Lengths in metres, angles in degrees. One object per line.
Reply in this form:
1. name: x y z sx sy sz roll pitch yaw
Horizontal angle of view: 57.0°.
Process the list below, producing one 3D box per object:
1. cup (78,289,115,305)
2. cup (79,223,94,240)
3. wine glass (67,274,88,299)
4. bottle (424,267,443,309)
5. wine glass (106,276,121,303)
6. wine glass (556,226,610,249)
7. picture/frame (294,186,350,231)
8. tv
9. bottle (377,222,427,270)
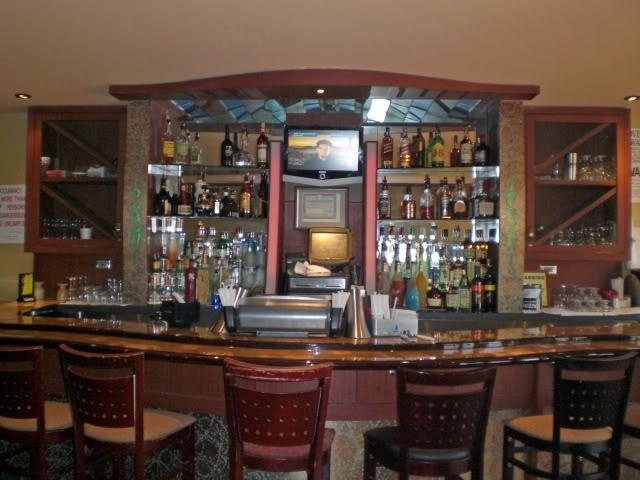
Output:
1. cup: -2.004 0.503 5.339 0.242 0.077 0.181 1 -6 12
2. cup: -2.120 -0.066 5.386 0.118 0.113 0.126 3 4 0
3. wine glass: -2.247 0.442 5.502 0.228 0.225 0.145 -1 -4 -1
4. bottle: 1.011 0.425 5.143 0.223 0.359 0.212 -1 4 0
5. wine glass: -1.863 0.461 5.353 0.166 0.274 0.163 -1 -8 3
6. wine glass: 2.275 -0.035 5.313 0.595 0.201 0.174 1 -2 3
7. picture/frame: 0.042 -0.276 5.219 0.442 0.312 0.043 1 -6 1
8. tv: 0.021 -0.733 5.169 0.861 0.539 0.083 -5 11 -37
9. bottle: 0.740 0.064 5.244 0.468 0.415 0.144 1 2 4
